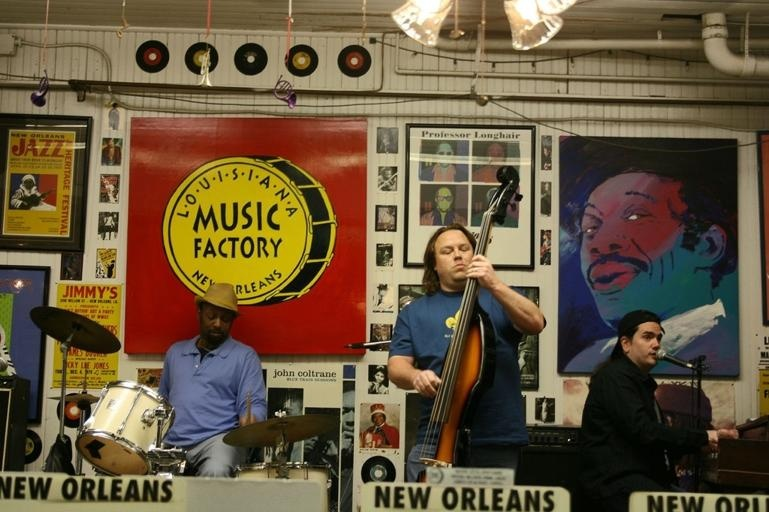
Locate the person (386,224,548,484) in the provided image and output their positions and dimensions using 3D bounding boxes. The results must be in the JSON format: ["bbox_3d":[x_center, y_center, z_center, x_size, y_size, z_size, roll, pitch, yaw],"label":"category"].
[{"bbox_3d":[0.639,0.814,10.283,1.244,2.161,1.069,-21,-30,37],"label":"person"}]

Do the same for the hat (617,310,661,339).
[{"bbox_3d":[2.059,0.549,10.990,0.276,0.165,0.229,-14,-5,7],"label":"hat"}]

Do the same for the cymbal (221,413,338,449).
[{"bbox_3d":[-0.854,1.430,11.089,0.911,0.276,0.546,1,-8,-3],"label":"cymbal"}]

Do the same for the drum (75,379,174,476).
[{"bbox_3d":[-2.137,1.401,11.052,0.743,0.757,0.416,2,-8,-8],"label":"drum"}]

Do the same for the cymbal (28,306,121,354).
[{"bbox_3d":[-2.623,0.620,11.415,0.508,0.117,0.505,0,-35,27],"label":"cymbal"}]

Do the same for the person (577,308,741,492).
[{"bbox_3d":[2.007,1.161,10.708,0.893,1.482,0.484,0,-8,8],"label":"person"}]

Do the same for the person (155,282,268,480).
[{"bbox_3d":[-1.475,1.043,11.634,0.840,1.627,0.659,4,-1,-17],"label":"person"}]
